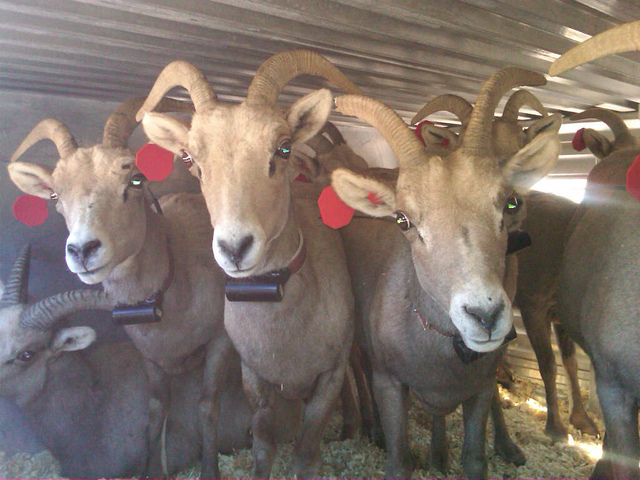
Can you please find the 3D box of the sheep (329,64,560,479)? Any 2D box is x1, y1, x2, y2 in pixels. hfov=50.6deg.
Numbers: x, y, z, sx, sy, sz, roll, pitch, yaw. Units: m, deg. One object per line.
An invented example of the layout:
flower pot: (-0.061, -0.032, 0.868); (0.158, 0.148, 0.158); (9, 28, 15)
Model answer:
sheep: (0.942, 0.469, 5.611); (1.736, 3.702, 1.405); (8, 13, 28)

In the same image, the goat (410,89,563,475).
goat: (1.633, 0.368, 6.395); (1.916, 3.277, 1.967); (-6, 13, -14)

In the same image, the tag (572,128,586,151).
tag: (2.528, -0.978, 6.589); (0.042, 0.190, 0.174); (9, -29, 17)

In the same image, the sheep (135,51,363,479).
sheep: (-0.463, 0.250, 5.660); (1.649, 3.597, 1.173); (-1, 12, -15)

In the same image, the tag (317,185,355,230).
tag: (0.136, -0.270, 5.719); (0.304, 0.362, 0.037); (-28, 5, 7)
